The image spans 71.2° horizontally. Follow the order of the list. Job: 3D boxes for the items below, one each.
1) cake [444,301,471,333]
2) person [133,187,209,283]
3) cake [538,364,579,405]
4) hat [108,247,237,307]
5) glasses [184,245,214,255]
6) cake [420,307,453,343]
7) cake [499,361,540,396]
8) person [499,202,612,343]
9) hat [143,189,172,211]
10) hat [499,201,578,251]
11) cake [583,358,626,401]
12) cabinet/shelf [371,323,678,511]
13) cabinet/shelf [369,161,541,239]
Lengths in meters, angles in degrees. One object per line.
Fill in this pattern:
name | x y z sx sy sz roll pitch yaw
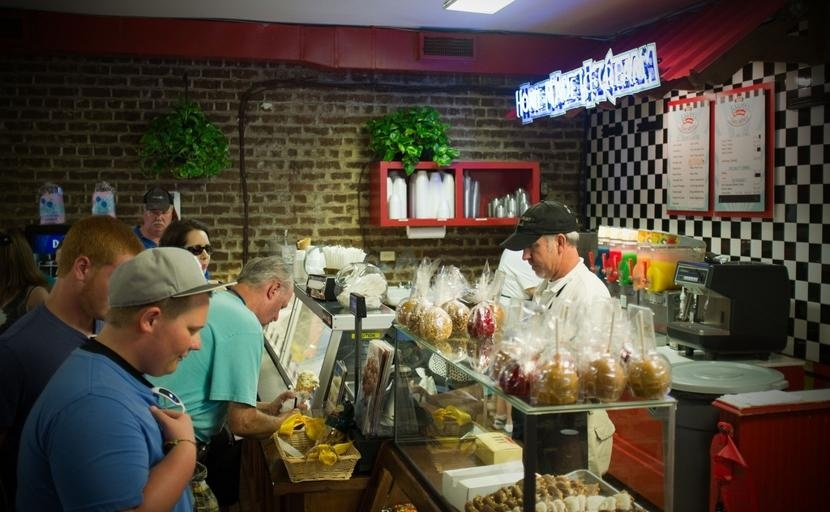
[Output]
cake | 0.226 0.321 2.990 0.147 0.168 0.147 1 -5 8
person | -2.236 -0.281 5.470 0.635 0.862 0.778 2 2 -21
cake | 0.583 0.504 2.385 0.158 0.167 0.157 -1 3 -32
hat | -1.030 0.060 2.440 0.443 0.165 0.322 -5 11 -8
glasses | -1.517 -0.025 4.105 0.184 0.058 0.181 -4 -4 32
cake | 0.105 0.355 3.016 0.166 0.219 0.164 -2 2 -1
cake | 0.434 0.507 2.425 0.141 0.130 0.138 6 -3 -3
person | 0.881 0.083 3.594 0.625 0.816 0.836 -3 4 -16
hat | -2.269 -0.499 5.101 0.174 0.141 0.233 0 -4 -28
hat | 0.767 -0.201 3.597 0.489 0.257 0.306 -13 11 -11
cake | 0.751 0.507 2.437 0.146 0.176 0.189 -1 1 -24
cabinet/shelf | 0.459 0.809 2.714 1.356 0.751 0.629 3 4 35
cabinet/shelf | 0.454 -0.666 6.259 1.854 0.740 0.396 1 3 -11
